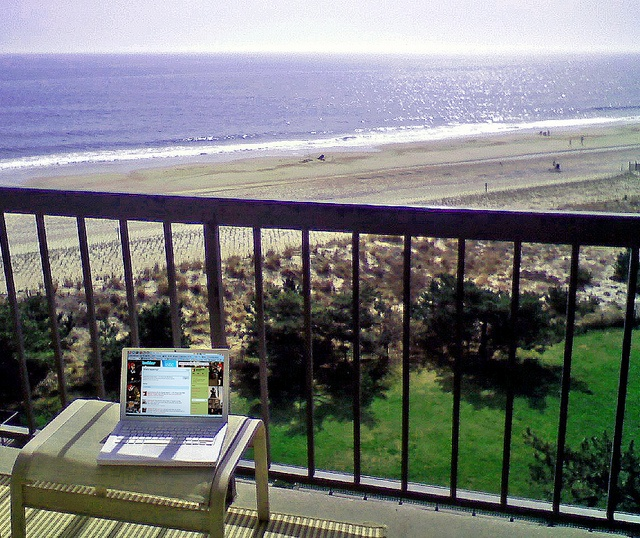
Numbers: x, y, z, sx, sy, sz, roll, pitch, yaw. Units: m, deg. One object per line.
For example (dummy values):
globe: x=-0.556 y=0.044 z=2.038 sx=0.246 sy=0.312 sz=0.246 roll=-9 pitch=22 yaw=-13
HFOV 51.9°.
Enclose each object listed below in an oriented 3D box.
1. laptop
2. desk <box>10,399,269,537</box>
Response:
laptop: x=-0.421 y=0.317 z=1.771 sx=0.320 sy=0.207 sz=0.304 roll=0 pitch=26 yaw=1
desk: x=-0.510 y=0.623 z=1.894 sx=0.662 sy=0.387 sz=0.320 roll=0 pitch=14 yaw=10
